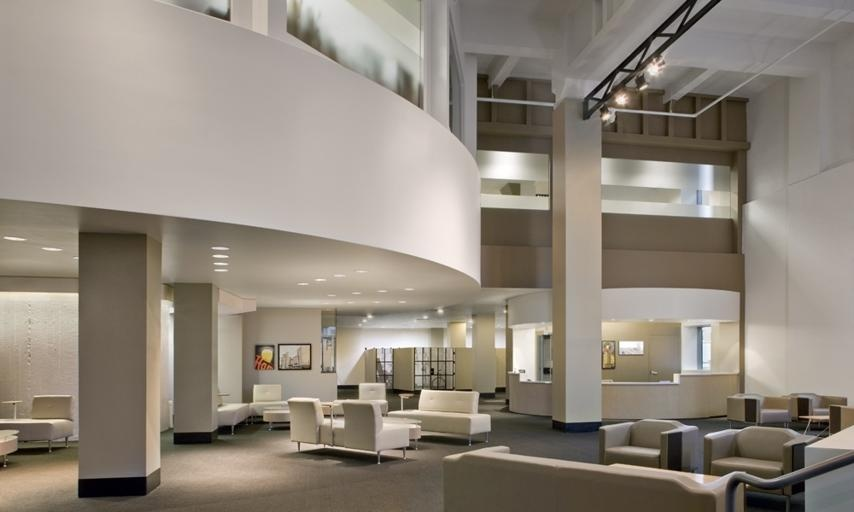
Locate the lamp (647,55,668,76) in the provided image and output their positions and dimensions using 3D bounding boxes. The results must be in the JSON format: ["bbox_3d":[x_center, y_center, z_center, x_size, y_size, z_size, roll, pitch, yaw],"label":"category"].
[{"bbox_3d":[5.584,-4.679,15.602,0.339,0.486,0.899,-1,1,17],"label":"lamp"}]

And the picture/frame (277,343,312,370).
[{"bbox_3d":[-4.697,3.522,22.363,0.951,0.737,0.061,1,-6,-9],"label":"picture/frame"}]

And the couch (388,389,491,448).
[{"bbox_3d":[0.288,4.101,16.578,2.527,1.206,1.229,-5,-10,31],"label":"couch"}]

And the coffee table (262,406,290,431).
[{"bbox_3d":[-4.340,4.896,18.486,0.718,0.668,1.058,1,-6,-6],"label":"coffee table"}]

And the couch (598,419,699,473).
[{"bbox_3d":[4.197,3.692,12.174,1.218,0.997,1.483,7,-11,-36],"label":"couch"}]

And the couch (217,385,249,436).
[{"bbox_3d":[-5.691,4.590,18.834,0.847,0.964,3.403,-2,1,-17],"label":"couch"}]

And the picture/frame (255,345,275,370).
[{"bbox_3d":[-5.682,3.513,22.227,0.876,1.116,0.126,1,1,-4],"label":"picture/frame"}]

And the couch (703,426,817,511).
[{"bbox_3d":[5.168,3.311,9.904,1.058,1.274,1.786,9,-12,-36],"label":"couch"}]
